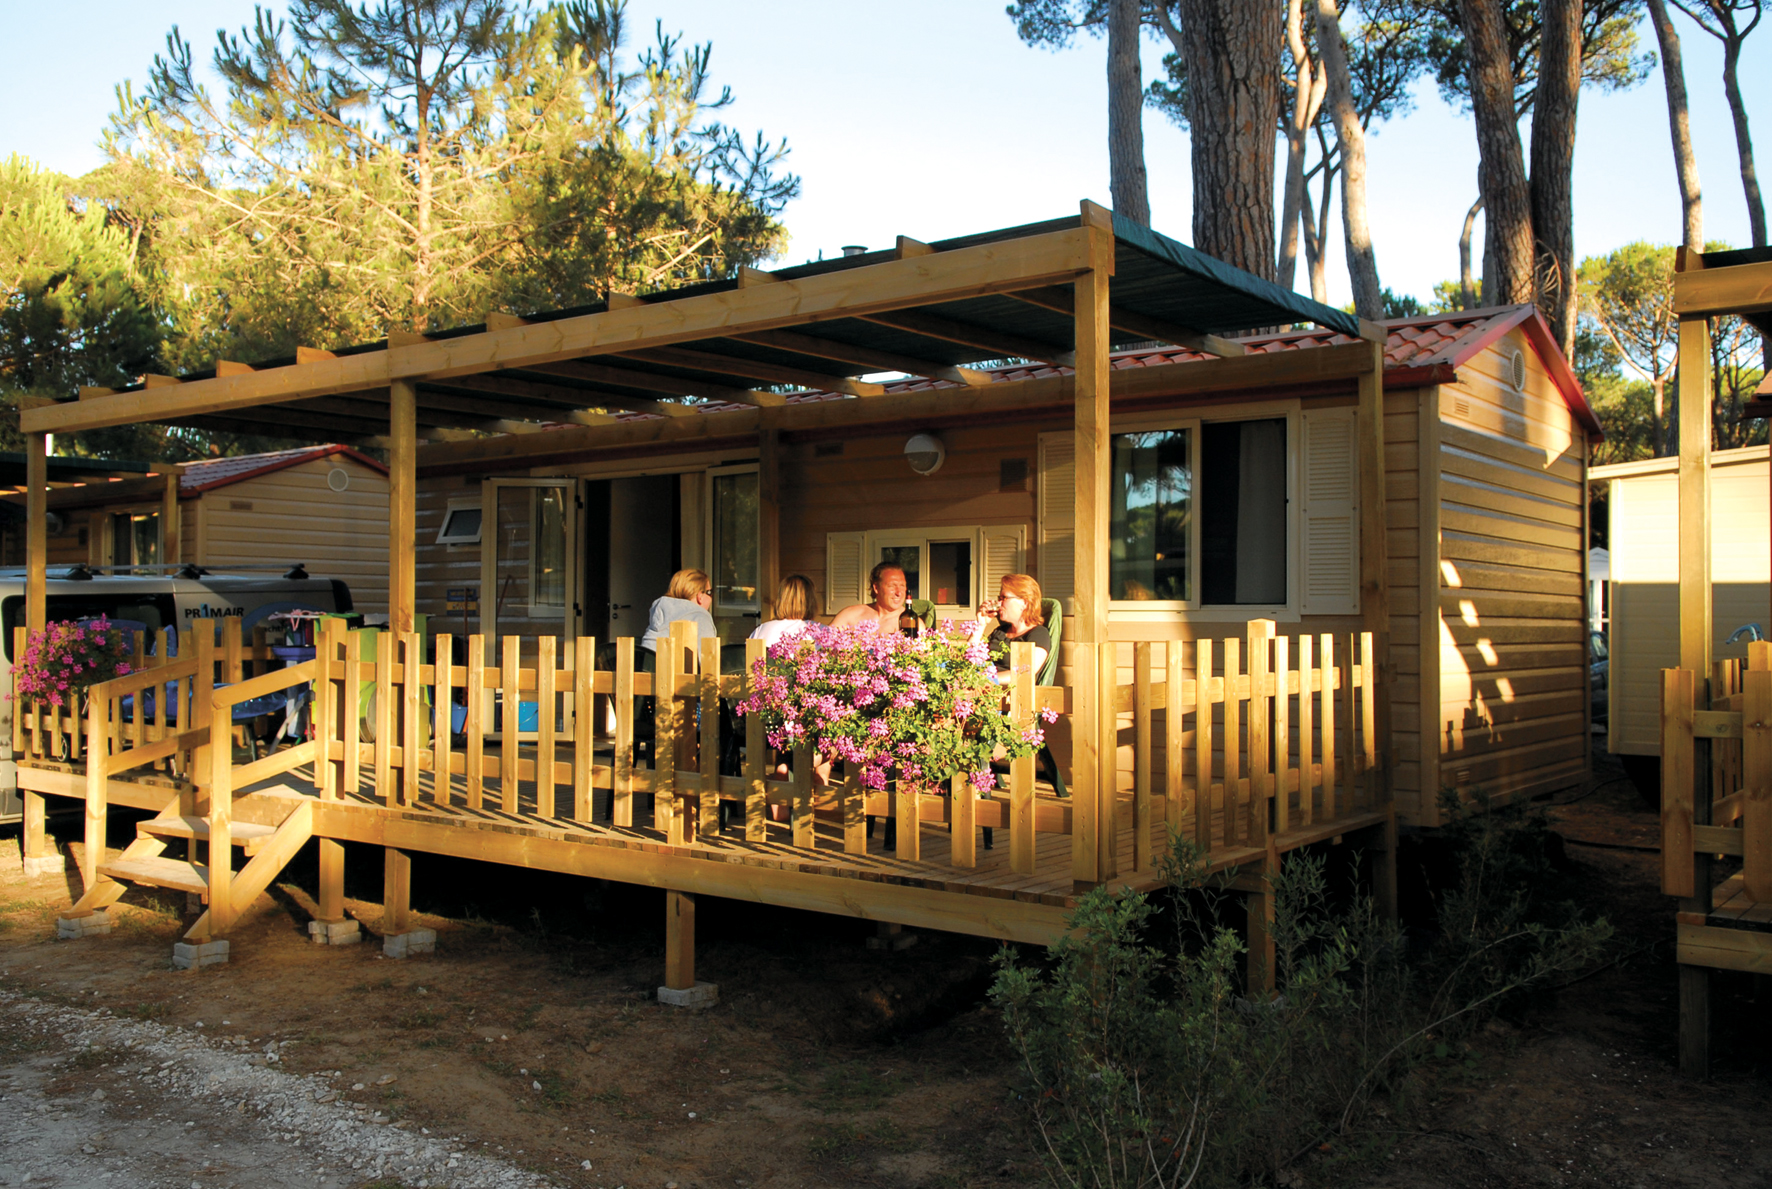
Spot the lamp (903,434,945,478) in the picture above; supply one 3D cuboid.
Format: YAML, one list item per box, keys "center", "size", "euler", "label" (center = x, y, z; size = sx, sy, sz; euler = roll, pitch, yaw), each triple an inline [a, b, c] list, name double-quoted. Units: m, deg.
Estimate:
- center: [0.380, -1.254, 15.092]
  size: [0.133, 0.396, 0.408]
  euler: [-6, 3, -43]
  label: "lamp"

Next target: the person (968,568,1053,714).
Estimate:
- center: [0.931, 0.325, 12.005]
  size: [0.530, 0.942, 0.955]
  euler: [5, 3, -24]
  label: "person"

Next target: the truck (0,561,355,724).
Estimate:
- center: [-5.988, 0.443, 14.060]
  size: [1.410, 1.373, 2.589]
  euler: [-4, -4, 34]
  label: "truck"

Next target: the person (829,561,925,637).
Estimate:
- center: [0.033, 0.056, 12.012]
  size: [0.826, 0.573, 0.399]
  euler: [5, 2, -19]
  label: "person"
